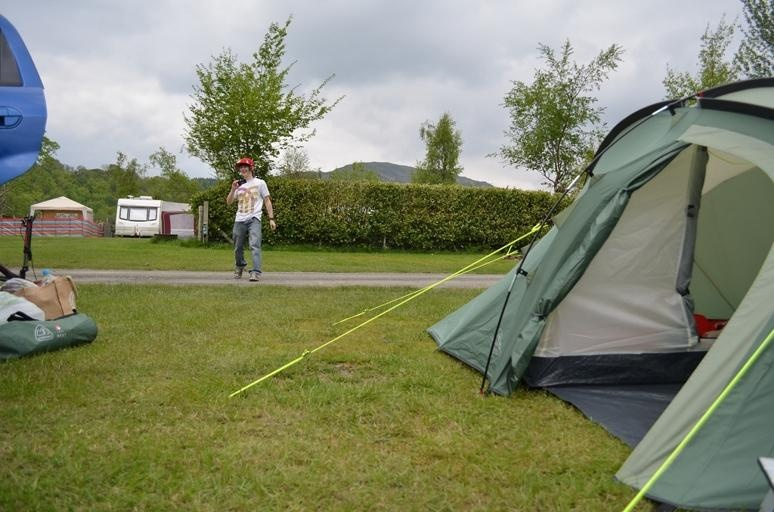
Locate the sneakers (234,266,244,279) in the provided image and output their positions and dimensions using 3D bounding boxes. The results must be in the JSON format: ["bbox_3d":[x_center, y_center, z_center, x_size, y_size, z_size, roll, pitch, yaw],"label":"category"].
[{"bbox_3d":[-2.786,0.307,11.648,0.136,0.176,0.409,0,-1,-1],"label":"sneakers"}]

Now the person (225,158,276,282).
[{"bbox_3d":[-2.528,-0.652,11.416,0.815,2.249,1.456,3,9,-15],"label":"person"}]
